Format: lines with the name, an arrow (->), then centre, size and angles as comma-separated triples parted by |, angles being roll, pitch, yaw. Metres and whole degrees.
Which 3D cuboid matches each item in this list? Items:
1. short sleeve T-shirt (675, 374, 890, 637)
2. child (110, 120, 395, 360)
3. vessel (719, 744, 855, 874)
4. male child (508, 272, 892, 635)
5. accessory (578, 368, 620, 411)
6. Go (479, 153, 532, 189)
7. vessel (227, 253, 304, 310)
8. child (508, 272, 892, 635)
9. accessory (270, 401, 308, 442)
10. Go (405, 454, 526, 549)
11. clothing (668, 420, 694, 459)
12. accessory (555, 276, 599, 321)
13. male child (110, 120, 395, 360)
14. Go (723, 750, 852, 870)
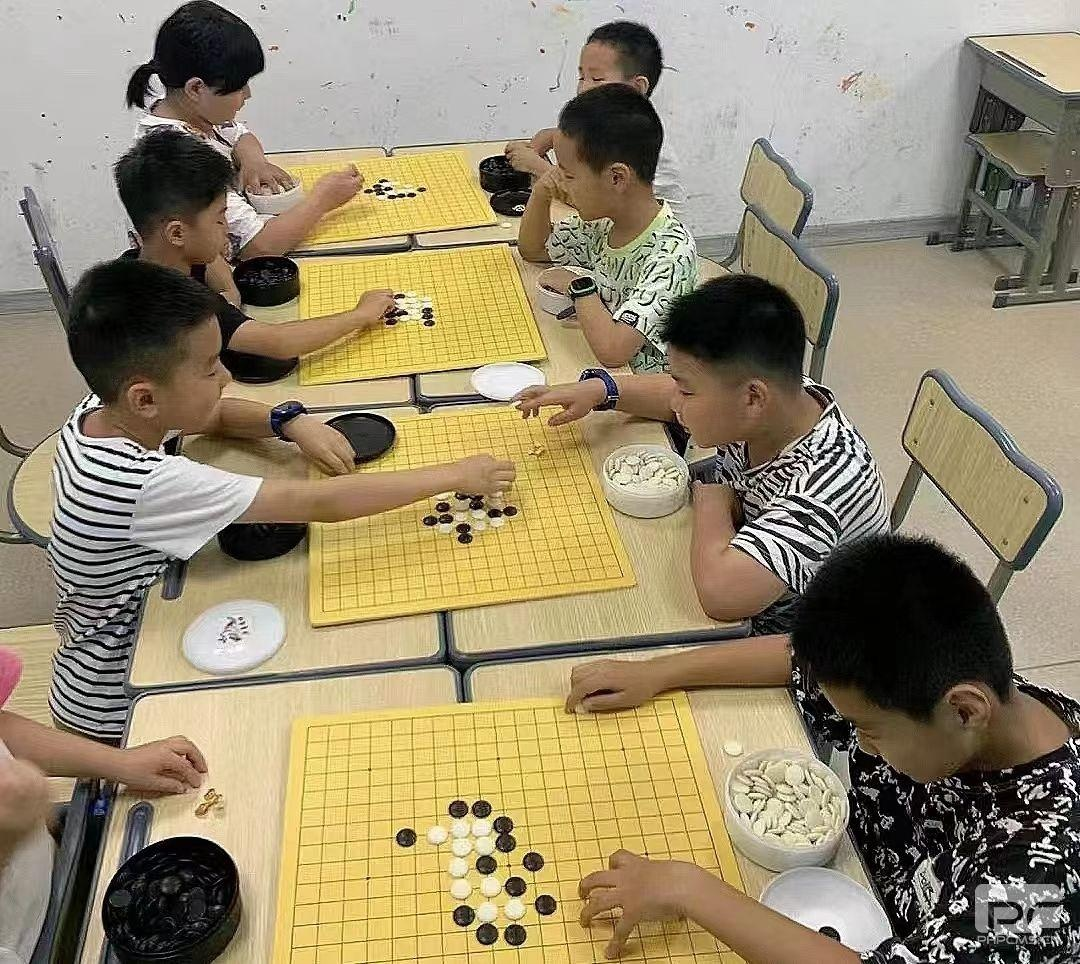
short sleeve T-shirt -> 0.404, 0.045, 1.444 | 0.334, 0.336, 0.469 | -3, 36, 13
child -> -0.829, -0.579, 2.211 | 0.592, 0.534, 0.776 | -12, 34, -30
vessel -> 0.341, 0.449, 1.139 | 0.171, 0.056, 0.147 | 5, 27, 31
male child -> 0.265, -0.059, 1.643 | 0.619, 0.838, 0.400 | -14, 47, 9
accessory -> 0.149, -0.213, 1.935 | 0.120, 0.094, 0.076 | -8, -4, 40
Go -> -0.135, -1.048, 2.908 | 0.186, 0.063, 0.149 | -2, 41, -3
vessel -> -0.767, -0.574, 2.347 | 0.213, 0.069, 0.175 | 0, 33, -4
child -> 0.265, -0.059, 1.643 | 0.619, 0.838, 0.400 | -14, 47, 9
accessory -> -0.550, -0.130, 1.830 | 0.082, 0.073, 0.098 | 9, 5, -38
Go -> -0.133, 0.054, 1.661 | 0.205, 0.056, 0.190 | 34, 58, 24
clothing -> 0.330, -0.102, 1.992 | 0.024, 0.089, 0.081 | -19, 63, 24
accessory -> 0.098, -0.487, 2.183 | 0.105, 0.117, 0.138 | -8, 17, 0
male child -> -0.758, -0.528, 2.183 | 0.676, 0.598, 0.901 | -10, 22, -32
Go -> 0.337, 0.437, 1.129 | 0.159, 0.056, 0.139 | -2, 35, 1
